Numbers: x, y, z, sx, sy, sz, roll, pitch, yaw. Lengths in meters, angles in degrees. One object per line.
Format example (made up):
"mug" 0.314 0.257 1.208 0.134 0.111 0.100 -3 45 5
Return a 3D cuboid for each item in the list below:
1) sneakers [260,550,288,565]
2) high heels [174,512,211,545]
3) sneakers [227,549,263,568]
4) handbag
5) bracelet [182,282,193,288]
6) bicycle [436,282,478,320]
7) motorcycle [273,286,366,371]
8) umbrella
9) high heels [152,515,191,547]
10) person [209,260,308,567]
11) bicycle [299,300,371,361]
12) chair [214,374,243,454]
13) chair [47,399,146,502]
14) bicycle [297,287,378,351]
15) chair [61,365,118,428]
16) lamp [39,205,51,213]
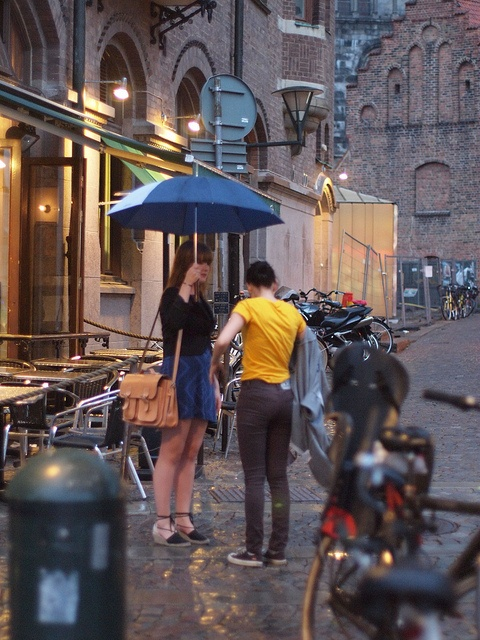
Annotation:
"sneakers" 0.173 1.220 5.458 0.129 0.064 0.051 11 21 34
"high heels" -0.259 1.174 5.867 0.263 0.137 0.092 4 2 42
"sneakers" 0.024 1.216 5.446 0.174 0.088 0.074 6 6 28
"handbag" -0.488 0.275 5.875 0.340 0.719 0.476 0 0 -6
"bracelet" -0.285 -0.179 5.795 0.049 0.027 0.069 0 0 -7
"bicycle" 6.492 -0.514 32.575 0.945 1.225 1.996 -3 0 25
"motorcycle" 1.172 0.141 15.990 1.483 1.073 0.962 6 2 -16
"umbrella" -0.328 -0.575 6.949 0.811 0.607 0.926 -5 3 7
"high heels" -0.397 1.176 5.843 0.247 0.175 0.105 2 -2 20
"person" 0.061 0.488 5.487 0.587 1.572 0.347 0 0 -39
"bicycle" 1.390 0.182 15.649 1.238 0.861 0.697 -7 2 -19
"chair" -0.064 0.759 8.646 0.237 0.479 0.250 10 5 2
"chair" -1.011 0.826 6.828 0.502 0.779 0.507 5 -2 -17
"bicycle" 1.478 0.139 15.711 1.383 0.972 0.793 -8 -2 21
"chair" -1.026 0.574 7.952 0.371 0.418 0.287 -1 -5 29
"lamp" -1.998 -1.133 10.967 0.083 0.090 0.119 -2 -3 22
